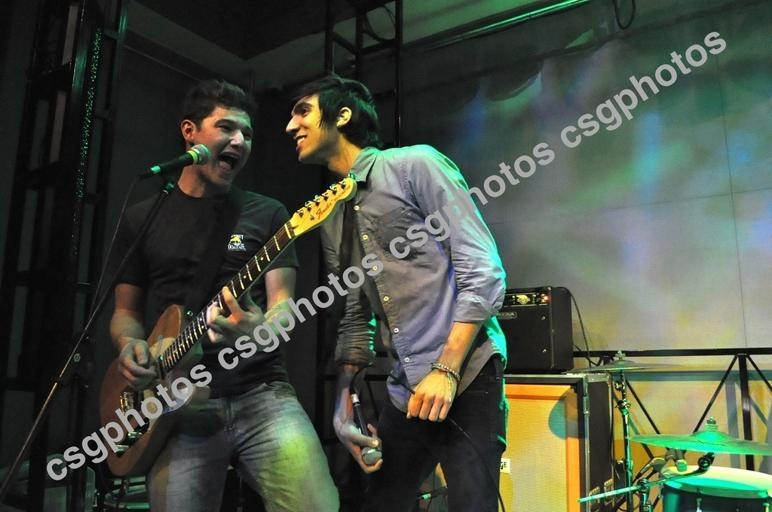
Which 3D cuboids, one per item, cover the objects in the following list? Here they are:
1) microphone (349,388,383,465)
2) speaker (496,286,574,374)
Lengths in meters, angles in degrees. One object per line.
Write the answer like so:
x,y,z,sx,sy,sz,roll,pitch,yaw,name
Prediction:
-0.128,0.984,4.305,0.122,0.453,0.138,-36,-53,26,microphone
1.129,0.582,5.812,0.643,0.640,0.372,-13,-11,42,speaker
